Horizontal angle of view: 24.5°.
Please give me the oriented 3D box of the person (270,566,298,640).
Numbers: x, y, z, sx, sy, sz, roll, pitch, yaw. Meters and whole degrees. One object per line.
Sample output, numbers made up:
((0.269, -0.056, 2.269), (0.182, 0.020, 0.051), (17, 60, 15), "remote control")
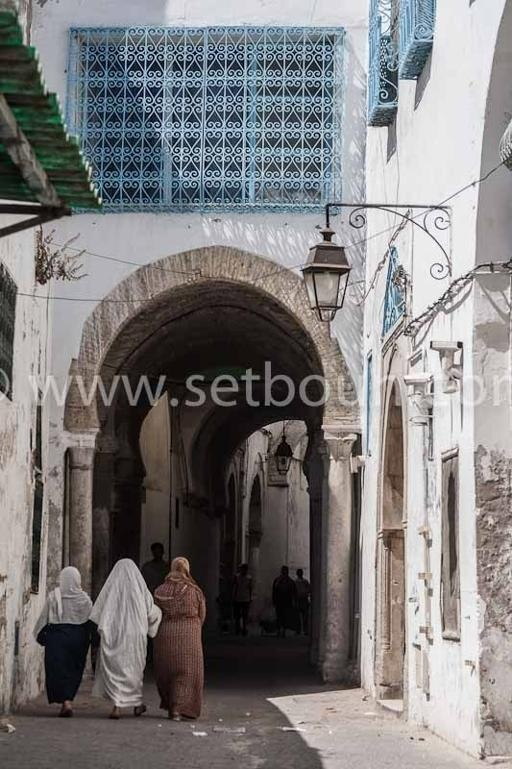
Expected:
((0.590, 4.333, 24.064), (0.448, 0.388, 1.638), (1, -61, 1), "person")

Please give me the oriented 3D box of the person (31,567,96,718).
((-1.481, 1.964, 9.006), (0.432, 1.115, 0.303), (3, -12, -13), "person")

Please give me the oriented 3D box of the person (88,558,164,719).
((-1.015, 1.948, 9.033), (0.533, 1.183, 0.386), (2, -12, -10), "person")
